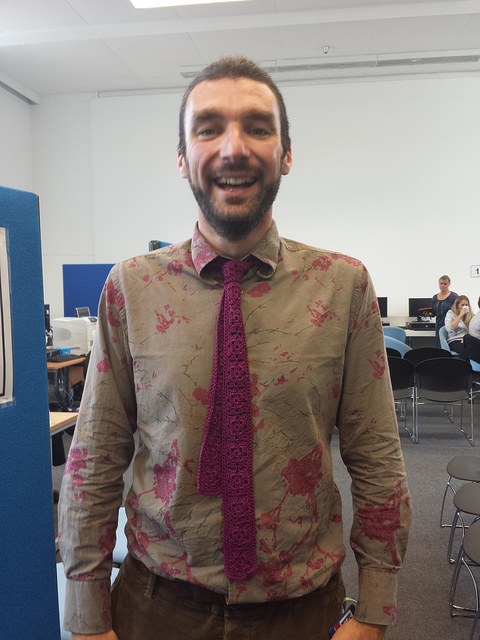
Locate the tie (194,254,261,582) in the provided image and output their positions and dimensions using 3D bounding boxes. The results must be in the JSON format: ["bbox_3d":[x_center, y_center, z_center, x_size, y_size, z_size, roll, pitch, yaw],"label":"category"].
[{"bbox_3d":[-0.028,0.130,0.806,0.111,0.497,0.057,-2,32,-6],"label":"tie"}]

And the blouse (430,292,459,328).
[{"bbox_3d":[2.706,-0.130,6.678,0.226,0.553,0.447,7,-7,-30],"label":"blouse"}]

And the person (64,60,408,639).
[{"bbox_3d":[-0.001,0.050,0.867,0.569,0.958,0.284,2,5,13],"label":"person"}]

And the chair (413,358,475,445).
[{"bbox_3d":[1.900,0.645,4.688,0.541,0.737,1.164,2,5,19],"label":"chair"}]

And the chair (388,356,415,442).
[{"bbox_3d":[1.295,0.627,4.260,0.319,0.552,0.325,5,-15,9],"label":"chair"}]

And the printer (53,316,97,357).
[{"bbox_3d":[-1.842,0.170,5.926,0.619,0.354,0.630,6,8,43],"label":"printer"}]
